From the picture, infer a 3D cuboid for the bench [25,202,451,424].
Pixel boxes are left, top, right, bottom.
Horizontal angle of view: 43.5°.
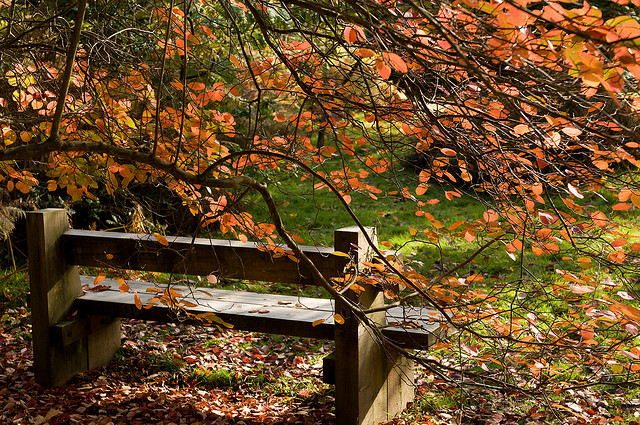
[{"bbox_3d":[-0.786,0.767,6.628,3.333,1.713,2.269,7,4,18],"label":"bench"}]
